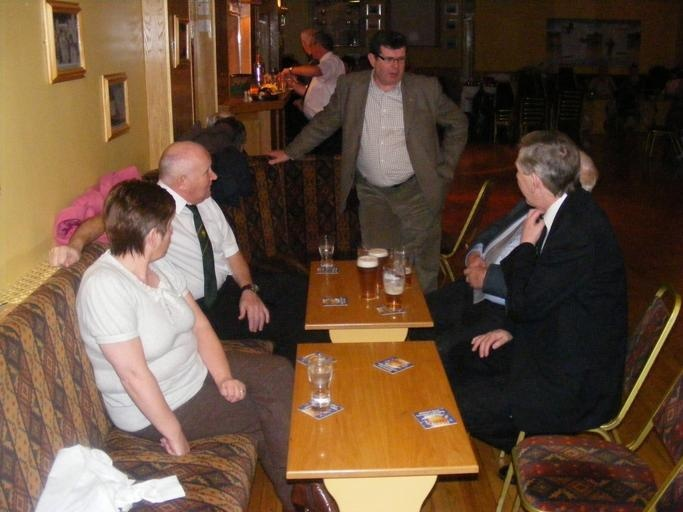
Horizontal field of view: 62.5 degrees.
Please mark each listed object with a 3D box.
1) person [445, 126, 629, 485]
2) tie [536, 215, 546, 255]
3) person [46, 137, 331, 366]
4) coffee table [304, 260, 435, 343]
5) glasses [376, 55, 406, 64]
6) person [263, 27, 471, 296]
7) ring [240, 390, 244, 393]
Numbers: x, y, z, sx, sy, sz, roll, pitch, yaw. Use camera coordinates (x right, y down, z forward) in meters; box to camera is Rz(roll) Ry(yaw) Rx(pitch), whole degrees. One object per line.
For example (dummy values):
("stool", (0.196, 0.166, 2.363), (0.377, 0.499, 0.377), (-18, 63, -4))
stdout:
("person", (1.013, 0.301, 2.809), (0.823, 1.659, 0.730), (-1, 15, 13))
("tie", (0.987, -0.092, 2.759), (0.053, 0.152, 0.110), (1, 6, 22))
("person", (-0.699, 0.181, 3.256), (1.350, 1.581, 0.869), (3, 24, -3))
("coffee table", (0.160, 0.293, 3.207), (0.652, 0.238, 1.016), (-2, 17, 0))
("glasses", (0.349, -1.368, 3.923), (0.189, 0.059, 0.060), (-3, 24, 1))
("person", (0.225, -0.543, 4.455), (1.475, 2.280, 0.589), (0, 24, 9))
("ring", (-0.411, 0.564, 2.324), (0.008, 0.014, 0.015), (1, -4, 18))
